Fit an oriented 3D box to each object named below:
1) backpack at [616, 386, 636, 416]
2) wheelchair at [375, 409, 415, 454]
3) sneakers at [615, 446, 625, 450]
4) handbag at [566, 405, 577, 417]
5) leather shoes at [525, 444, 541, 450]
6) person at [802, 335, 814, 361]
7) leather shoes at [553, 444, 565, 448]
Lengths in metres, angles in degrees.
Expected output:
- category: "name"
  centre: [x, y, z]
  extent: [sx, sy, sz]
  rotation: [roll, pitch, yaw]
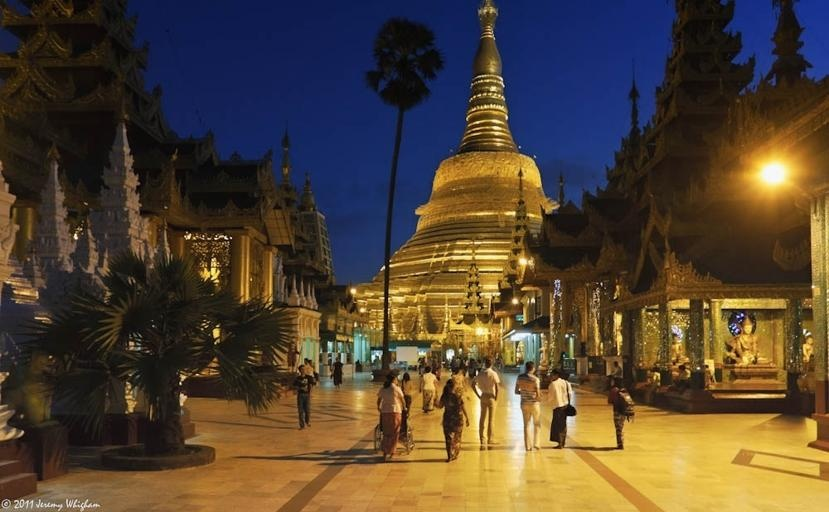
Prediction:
- category: "backpack"
  centre: [5.862, 4.077, 21.135]
  extent: [0.391, 0.782, 0.445]
  rotation: [-2, -12, 23]
- category: "wheelchair"
  centre: [-0.416, 4.964, 20.714]
  extent: [0.930, 1.523, 1.208]
  rotation: [3, 6, 12]
- category: "sneakers"
  centre: [5.687, 5.301, 20.944]
  extent: [0.214, 0.111, 0.211]
  rotation: [2, -11, 2]
- category: "handbag"
  centre: [4.418, 4.333, 21.260]
  extent: [0.432, 0.262, 0.554]
  rotation: [-1, -8, 5]
- category: "leather shoes"
  centre: [3.286, 5.322, 20.984]
  extent: [0.284, 0.134, 0.462]
  rotation: [-6, -14, 37]
- category: "person"
  centre: [16.187, 3.821, 31.251]
  extent: [0.350, 1.124, 1.646]
  rotation: [-2, -12, 25]
- category: "leather shoes"
  centre: [4.032, 5.325, 21.220]
  extent: [0.290, 0.156, 0.368]
  rotation: [0, -11, 9]
